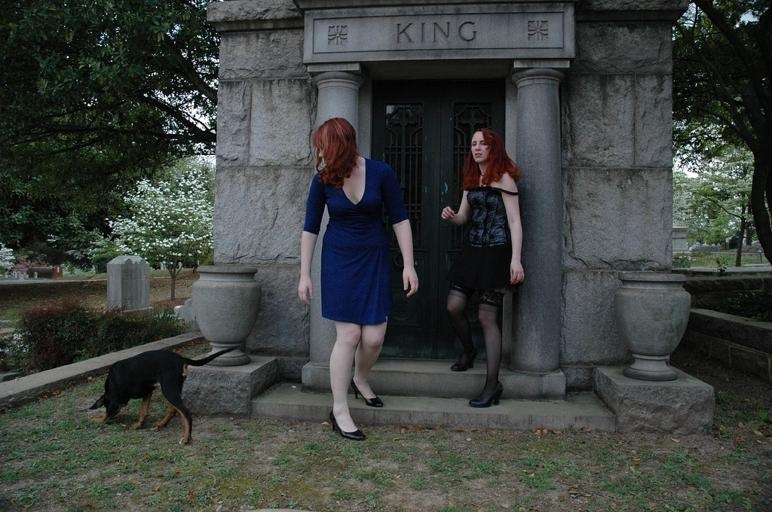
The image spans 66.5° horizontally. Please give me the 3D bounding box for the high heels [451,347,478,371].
[{"bbox_3d":[1.069,1.347,7.617,0.163,0.235,0.495,-18,-11,41],"label":"high heels"}]

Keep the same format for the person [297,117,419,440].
[{"bbox_3d":[-0.347,0.279,6.590,1.227,3.559,0.676,1,2,-3],"label":"person"}]

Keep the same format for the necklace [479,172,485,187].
[{"bbox_3d":[1.171,-0.924,7.207,0.085,0.116,0.041,1,10,-7],"label":"necklace"}]

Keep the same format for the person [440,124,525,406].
[{"bbox_3d":[1.187,0.131,7.201,0.949,3.342,0.516,2,2,18],"label":"person"}]
